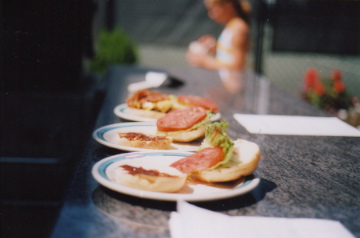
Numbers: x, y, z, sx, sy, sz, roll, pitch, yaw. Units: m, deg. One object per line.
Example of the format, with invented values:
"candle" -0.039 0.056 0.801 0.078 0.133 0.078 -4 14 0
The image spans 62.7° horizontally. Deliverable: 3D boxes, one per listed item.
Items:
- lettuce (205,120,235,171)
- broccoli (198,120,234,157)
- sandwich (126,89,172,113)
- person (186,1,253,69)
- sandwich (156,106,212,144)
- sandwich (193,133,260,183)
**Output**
"lettuce" 0.110 0.072 0.841 0.044 0.120 0.100 8 -5 -19
"broccoli" 0.105 0.057 0.843 0.041 0.092 0.088 21 12 -28
"sandwich" -0.144 -0.073 1.436 0.235 0.077 0.259 7 6 10
"person" 0.499 -1.026 3.644 0.598 0.826 0.858 -9 36 -23
"sandwich" 0.000 0.031 1.147 0.240 0.088 0.218 -11 10 -32
"sandwich" 0.137 0.099 0.839 0.198 0.117 0.127 2 33 -9
